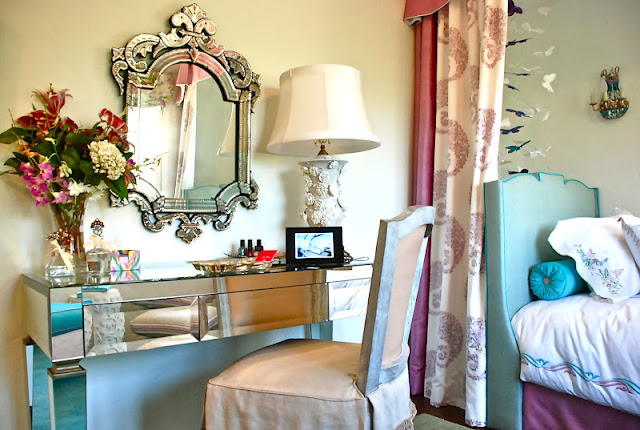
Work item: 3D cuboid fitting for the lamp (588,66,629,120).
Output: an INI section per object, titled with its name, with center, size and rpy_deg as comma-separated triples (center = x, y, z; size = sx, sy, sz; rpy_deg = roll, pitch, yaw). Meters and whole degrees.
[lamp]
center = 2.078, -0.862, 3.558
size = 0.074, 0.367, 0.221
rpy_deg = -3, 0, -44

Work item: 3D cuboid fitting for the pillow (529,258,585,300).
[pillow]
center = 1.515, 0.417, 3.166
size = 0.286, 0.135, 0.128
rpy_deg = -14, -25, -35

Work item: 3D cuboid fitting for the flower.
[flower]
center = -1.324, -0.242, 2.959
size = 0.936, 0.885, 0.678
rpy_deg = 4, -3, -35
